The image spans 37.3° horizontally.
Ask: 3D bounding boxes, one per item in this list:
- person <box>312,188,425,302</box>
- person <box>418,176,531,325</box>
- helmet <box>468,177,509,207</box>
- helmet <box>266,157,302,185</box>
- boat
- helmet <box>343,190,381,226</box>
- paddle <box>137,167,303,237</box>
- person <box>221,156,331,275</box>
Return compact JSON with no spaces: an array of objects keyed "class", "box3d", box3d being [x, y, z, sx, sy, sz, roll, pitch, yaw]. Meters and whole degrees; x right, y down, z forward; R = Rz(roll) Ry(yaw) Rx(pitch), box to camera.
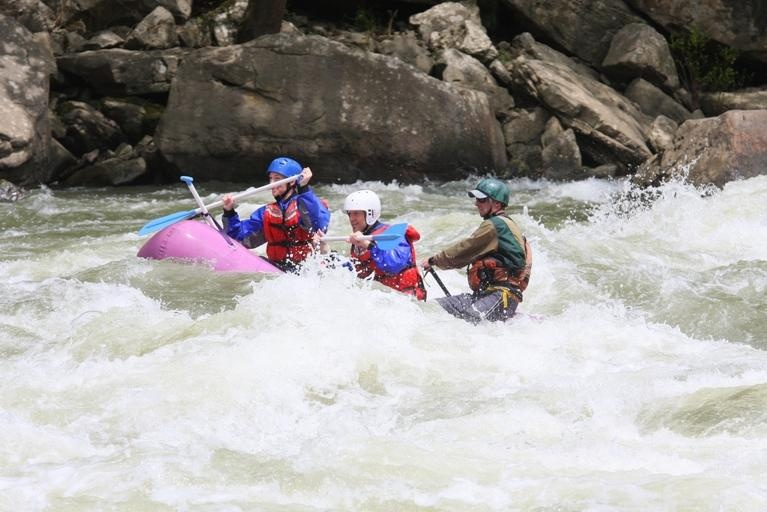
[{"class":"person","box3d":[0.014,-0.102,15.338,1.116,1.451,0.672,2,20,12]},{"class":"person","box3d":[1.357,-0.067,15.468,0.999,1.773,1.240,16,26,42]},{"class":"helmet","box3d":[1.490,-0.878,15.736,0.588,0.238,0.375,7,3,-4]},{"class":"helmet","box3d":[-1.366,-1.206,16.118,0.498,0.232,0.354,2,5,-18]},{"class":"boat","box3d":[-2.378,-0.068,15.837,1.739,0.567,0.772,17,-1,-6]},{"class":"helmet","box3d":[-0.245,-0.664,15.364,0.588,0.388,0.400,5,-4,-22]},{"class":"paddle","box3d":[-2.557,-0.840,18.002,3.873,0.227,0.393,-16,22,-12]},{"class":"person","box3d":[-1.594,-0.569,16.855,1.684,0.890,2.358,-16,47,8]}]
